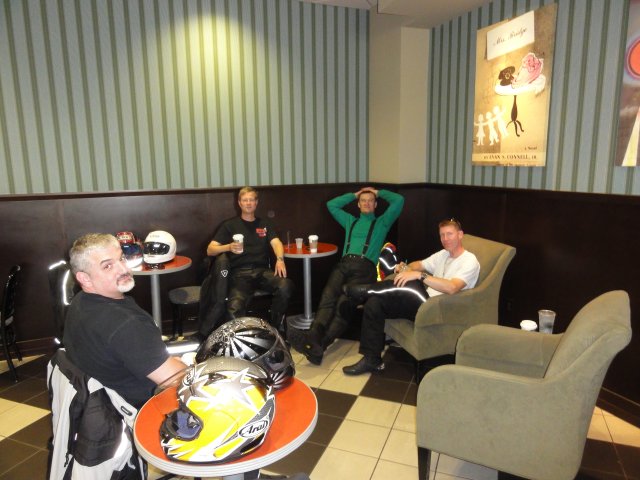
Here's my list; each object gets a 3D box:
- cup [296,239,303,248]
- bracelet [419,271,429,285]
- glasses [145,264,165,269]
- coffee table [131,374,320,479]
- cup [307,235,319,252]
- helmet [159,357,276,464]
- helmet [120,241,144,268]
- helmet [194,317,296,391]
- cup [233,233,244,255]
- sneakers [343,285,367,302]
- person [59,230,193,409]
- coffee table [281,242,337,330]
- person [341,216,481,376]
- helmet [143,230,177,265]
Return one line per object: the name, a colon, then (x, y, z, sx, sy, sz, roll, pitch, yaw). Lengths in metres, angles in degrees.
cup: (-0.215, 0.040, 5.136, 0.091, 0.098, 0.090, 0, 6, 0)
bracelet: (0.862, 0.318, 3.786, 0.050, 0.074, 0.075, 25, 18, 18)
glasses: (-1.571, 0.252, 4.338, 0.107, 0.040, 0.078, 0, 1, 12)
coffee table: (-0.421, 0.868, 2.229, 0.625, 0.444, 0.598, -5, 17, -18)
cup: (-0.068, 0.038, 4.978, 0.145, 0.231, 0.149, 1, 16, 0)
helmet: (-0.433, 0.745, 2.094, 0.467, 0.354, 0.367, 2, 0, 2)
helmet: (-1.671, 0.133, 4.037, 0.207, 0.195, 0.181, -17, 13, -22)
helmet: (-0.384, 0.648, 2.532, 0.332, 0.351, 0.438, -35, -29, -1)
cup: (-0.811, 0.030, 4.559, 0.168, 0.207, 0.166, 1, 1, 0)
sneakers: (0.313, 0.472, 4.041, 0.083, 0.117, 0.200, 1, -6, -24)
person: (-1.226, 0.459, 2.855, 0.608, 1.119, 0.509, 25, 44, 32)
coffee table: (-0.011, 0.486, 5.390, 0.836, 1.039, 0.828, -1, 7, -15)
person: (0.845, 0.468, 4.562, 1.422, 1.780, 1.074, 4, 1, 1)
helmet: (-1.551, 0.083, 4.518, 0.256, 0.271, 0.344, -1, 2, 5)
